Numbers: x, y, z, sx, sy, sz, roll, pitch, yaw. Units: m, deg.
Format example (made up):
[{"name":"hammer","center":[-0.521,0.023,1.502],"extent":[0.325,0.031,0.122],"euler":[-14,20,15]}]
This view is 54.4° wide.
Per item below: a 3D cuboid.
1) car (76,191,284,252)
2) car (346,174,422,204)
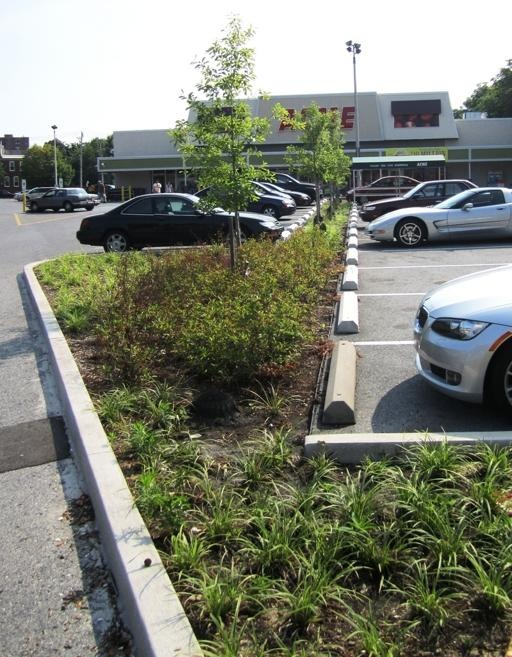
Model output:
[{"name":"car","center":[-2.236,-2.812,13.010],"extent":[4.948,1.390,1.376],"euler":[-1,13,10]},{"name":"car","center":[8.429,-8.035,28.701],"extent":[5.310,1.780,2.149],"euler":[-1,15,8]}]
